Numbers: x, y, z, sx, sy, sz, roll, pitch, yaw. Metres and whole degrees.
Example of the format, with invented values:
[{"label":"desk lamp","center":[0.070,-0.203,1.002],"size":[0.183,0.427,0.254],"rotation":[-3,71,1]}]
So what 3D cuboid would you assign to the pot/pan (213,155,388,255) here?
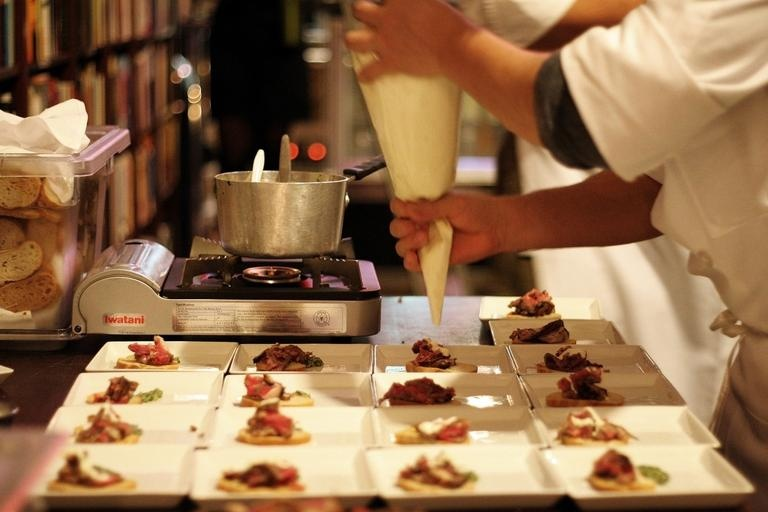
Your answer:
[{"label":"pot/pan","center":[-0.199,-0.097,1.390],"size":[0.178,0.142,0.421],"rotation":[4,4,42]}]
